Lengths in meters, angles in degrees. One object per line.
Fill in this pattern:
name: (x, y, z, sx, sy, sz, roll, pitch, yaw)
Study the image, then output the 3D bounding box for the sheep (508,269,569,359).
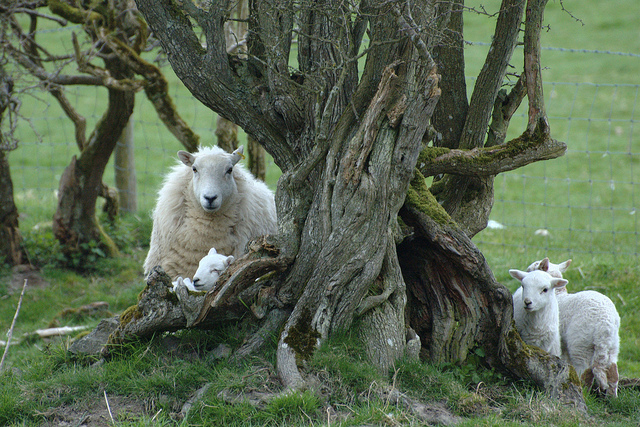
sheep: (3.911, 1.670, 18.031, 0.691, 1.405, 1.604, -3, -5, 7)

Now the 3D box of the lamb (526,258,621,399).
lamb: (4.478, 2.080, 18.270, 0.765, 2.012, 2.171, 9, 0, -28)

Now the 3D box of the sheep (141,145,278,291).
sheep: (-1.995, 0.884, 19.932, 2.521, 3.757, 3.837, -2, -14, -1)

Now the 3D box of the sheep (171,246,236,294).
sheep: (-1.982, 0.982, 17.422, 1.000, 0.577, 0.959, -7, 16, -40)
